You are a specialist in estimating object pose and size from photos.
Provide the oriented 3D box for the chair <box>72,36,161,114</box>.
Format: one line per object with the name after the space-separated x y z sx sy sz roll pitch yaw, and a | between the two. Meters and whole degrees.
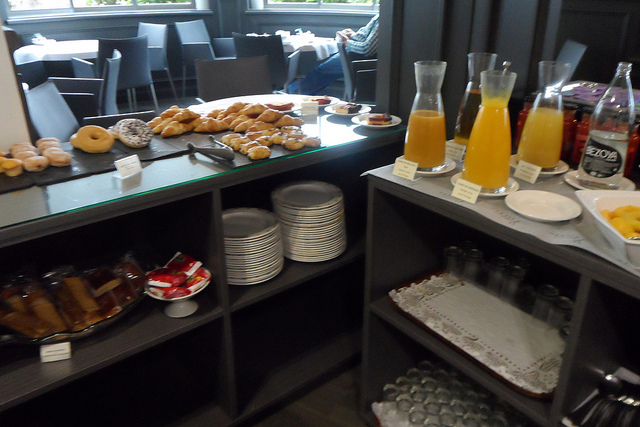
-2.098 -1.587 4.658 0.574 0.659 0.445 -17 40 -23 | chair

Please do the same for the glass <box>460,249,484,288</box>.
0.606 0.215 1.633 0.074 0.115 0.115 10 29 23 | glass

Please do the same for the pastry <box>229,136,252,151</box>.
-0.299 -0.265 1.544 0.054 0.020 0.069 -10 27 -1 | pastry

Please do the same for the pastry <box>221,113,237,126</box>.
-0.379 -0.401 1.752 0.045 0.014 0.063 9 31 10 | pastry

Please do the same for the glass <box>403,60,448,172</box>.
0.363 -0.319 1.406 0.158 0.349 0.161 17 25 42 | glass

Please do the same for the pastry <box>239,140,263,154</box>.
-0.253 -0.245 1.508 0.062 0.020 0.060 -26 34 -32 | pastry

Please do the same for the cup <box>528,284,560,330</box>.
0.786 0.333 1.442 0.107 0.153 0.101 2 21 -1 | cup

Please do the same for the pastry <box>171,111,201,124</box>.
-0.538 -0.389 1.664 0.071 0.018 0.058 -15 28 -30 | pastry

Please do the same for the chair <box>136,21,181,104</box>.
-2.597 -2.248 6.126 0.671 1.044 0.757 30 41 31 | chair

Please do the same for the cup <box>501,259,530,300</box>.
0.733 0.241 1.540 0.060 0.126 0.101 16 32 31 | cup

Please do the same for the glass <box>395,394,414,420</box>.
0.341 0.769 1.659 0.083 0.075 0.083 2 6 34 | glass

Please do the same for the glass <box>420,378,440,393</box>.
0.449 0.692 1.666 0.070 0.029 0.056 7 27 18 | glass

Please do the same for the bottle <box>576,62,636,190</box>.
0.876 -0.256 1.228 0.124 0.344 0.299 14 32 29 | bottle

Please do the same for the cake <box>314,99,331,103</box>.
0.015 -0.571 2.099 0.089 0.018 0.064 -7 26 -10 | cake

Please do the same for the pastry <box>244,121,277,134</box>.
-0.239 -0.352 1.676 0.075 0.016 0.068 -26 34 -37 | pastry

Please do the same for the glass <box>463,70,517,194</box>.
0.528 -0.247 1.289 0.159 0.352 0.145 -5 19 -13 | glass

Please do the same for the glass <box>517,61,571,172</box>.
0.735 -0.315 1.363 0.159 0.331 0.143 -4 19 -11 | glass

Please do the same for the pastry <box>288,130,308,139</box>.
-0.090 -0.308 1.610 0.054 0.017 0.047 14 21 38 | pastry

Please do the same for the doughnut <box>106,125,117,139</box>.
-0.792 -0.319 1.575 0.063 0.017 0.061 -25 37 -36 | doughnut

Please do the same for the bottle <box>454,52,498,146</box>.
0.532 -0.400 1.528 0.138 0.352 0.140 2 30 -1 | bottle

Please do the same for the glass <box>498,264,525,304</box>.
0.710 0.260 1.525 0.071 0.134 0.081 11 31 25 | glass

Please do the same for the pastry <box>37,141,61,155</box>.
-0.945 -0.238 1.441 0.065 0.028 0.059 4 23 -7 | pastry

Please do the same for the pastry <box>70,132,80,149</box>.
-0.887 -0.270 1.506 0.019 0.049 0.053 -7 10 -28 | pastry

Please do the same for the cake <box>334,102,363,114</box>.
0.147 -0.511 1.993 0.118 0.023 0.228 4 26 12 | cake

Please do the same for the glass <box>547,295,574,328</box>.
0.830 0.337 1.425 0.067 0.092 0.076 13 31 27 | glass

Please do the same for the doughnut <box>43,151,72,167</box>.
-0.874 -0.183 1.375 0.068 0.021 0.059 -2 28 -16 | doughnut

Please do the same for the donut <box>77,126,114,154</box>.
-0.803 -0.264 1.484 0.112 0.087 0.085 -17 30 -26 | donut

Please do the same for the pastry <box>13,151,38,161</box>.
-0.978 -0.194 1.366 0.050 0.020 0.047 -1 11 -5 | pastry

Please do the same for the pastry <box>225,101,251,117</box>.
-0.365 -0.466 1.815 0.068 0.021 0.077 -4 24 25 | pastry

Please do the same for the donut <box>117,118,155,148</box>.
-0.676 -0.309 1.571 0.105 0.066 0.123 33 20 2 | donut

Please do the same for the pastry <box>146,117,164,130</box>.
-0.678 -0.371 1.703 0.043 0.016 0.072 11 24 12 | pastry

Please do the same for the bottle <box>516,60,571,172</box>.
0.739 -0.316 1.352 0.155 0.329 0.145 -1 24 1 | bottle

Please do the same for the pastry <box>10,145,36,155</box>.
-1.005 -0.214 1.397 0.050 0.020 0.047 -4 7 -13 | pastry

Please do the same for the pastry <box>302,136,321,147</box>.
-0.030 -0.274 1.575 0.061 0.032 0.062 17 32 34 | pastry

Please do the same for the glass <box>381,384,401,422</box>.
0.300 0.784 1.704 0.092 0.106 0.034 6 -3 -8 | glass

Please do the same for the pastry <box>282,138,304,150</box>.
-0.098 -0.261 1.548 0.080 0.033 0.054 -2 26 0 | pastry

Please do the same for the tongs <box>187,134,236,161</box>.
-0.375 -0.244 1.476 0.157 0.039 0.096 20 35 38 | tongs

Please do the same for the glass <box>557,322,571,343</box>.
0.820 0.393 1.385 0.028 0.042 0.052 9 29 22 | glass

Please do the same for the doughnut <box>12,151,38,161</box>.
-0.973 -0.194 1.366 0.048 0.020 0.047 4 12 33 | doughnut

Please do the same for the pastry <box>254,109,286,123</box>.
-0.208 -0.411 1.728 0.102 0.033 0.055 -17 19 -37 | pastry

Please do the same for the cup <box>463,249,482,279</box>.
0.612 0.201 1.654 0.052 0.107 0.056 -2 28 1 | cup

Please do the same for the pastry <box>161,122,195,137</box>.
-0.566 -0.332 1.632 0.092 0.029 0.052 -26 41 -36 | pastry

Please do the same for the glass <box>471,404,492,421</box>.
0.608 0.740 1.542 0.069 0.029 0.047 16 32 33 | glass

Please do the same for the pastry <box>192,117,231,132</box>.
-0.435 -0.356 1.677 0.120 0.035 0.059 -8 33 -14 | pastry

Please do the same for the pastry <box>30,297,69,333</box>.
-0.875 0.330 1.342 0.038 0.145 0.069 -29 22 55 | pastry

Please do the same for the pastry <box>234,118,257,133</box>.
-0.304 -0.359 1.685 0.084 0.023 0.048 -33 26 -27 | pastry

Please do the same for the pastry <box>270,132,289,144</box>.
-0.158 -0.292 1.589 0.057 0.015 0.051 -1 27 0 | pastry

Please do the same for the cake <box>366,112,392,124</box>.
0.265 -0.410 1.796 0.103 0.025 0.081 1 26 7 | cake

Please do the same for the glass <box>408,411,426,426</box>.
0.378 0.793 1.604 0.058 0.048 0.054 -1 -1 -4 | glass

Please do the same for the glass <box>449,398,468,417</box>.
0.534 0.740 1.577 0.064 0.026 0.062 8 28 20 | glass

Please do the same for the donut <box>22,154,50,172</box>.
-0.929 -0.165 1.359 0.073 0.044 0.061 -25 34 -38 | donut

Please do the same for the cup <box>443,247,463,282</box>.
0.542 0.205 1.670 0.074 0.097 0.122 6 28 16 | cup

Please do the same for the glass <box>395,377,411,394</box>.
0.349 0.711 1.715 0.054 0.046 0.049 -1 0 -3 | glass

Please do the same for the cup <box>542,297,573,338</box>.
0.809 0.353 1.406 0.063 0.100 0.123 19 33 35 | cup

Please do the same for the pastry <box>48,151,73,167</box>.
-0.871 -0.184 1.390 0.072 0.044 0.058 11 29 25 | pastry

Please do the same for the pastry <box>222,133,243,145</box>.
-0.342 -0.295 1.594 0.056 0.016 0.060 -7 27 2 | pastry
